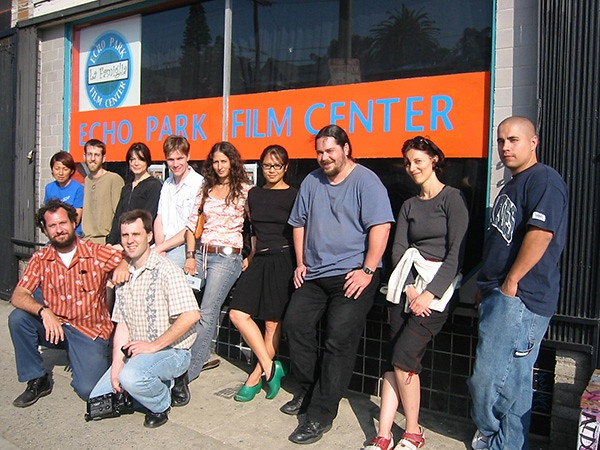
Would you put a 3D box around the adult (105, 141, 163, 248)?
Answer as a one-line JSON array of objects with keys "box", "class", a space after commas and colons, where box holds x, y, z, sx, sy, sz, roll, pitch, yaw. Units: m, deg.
[{"box": [-1.870, -0.313, 5.971, 0.572, 1.164, 0.544, -2, -5, 29], "class": "adult"}]

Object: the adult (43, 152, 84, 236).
[{"box": [-2.966, -0.319, 6.639, 0.493, 1.096, 0.578, 7, 14, 7], "class": "adult"}]

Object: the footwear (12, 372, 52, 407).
[{"box": [-2.475, 1.511, 4.966, 0.142, 0.198, 0.414, 2, 6, 14], "class": "footwear"}]

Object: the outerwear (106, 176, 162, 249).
[{"box": [-1.698, -0.111, 5.514, 0.615, 0.938, 0.326, 7, -4, 34], "class": "outerwear"}]

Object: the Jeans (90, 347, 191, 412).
[{"box": [-1.355, 1.336, 4.587, 0.786, 0.564, 0.441, -1, 10, -10], "class": "Jeans"}]

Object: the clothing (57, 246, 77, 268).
[{"box": [-2.131, 0.290, 4.977, 0.161, 0.189, 0.168, -3, 7, 3], "class": "clothing"}]

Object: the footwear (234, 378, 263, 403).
[{"box": [-0.491, 1.579, 5.097, 0.111, 0.127, 0.313, -1, -6, 30], "class": "footwear"}]

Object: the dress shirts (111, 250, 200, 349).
[{"box": [-1.375, 0.730, 4.707, 0.844, 0.863, 0.424, -8, -23, -4], "class": "dress shirts"}]

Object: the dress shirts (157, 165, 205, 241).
[{"box": [-1.257, -0.190, 5.678, 0.564, 0.816, 0.283, 19, 8, 34], "class": "dress shirts"}]

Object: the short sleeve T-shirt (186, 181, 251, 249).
[{"box": [-0.789, -0.083, 5.404, 0.682, 0.666, 0.348, 0, -1, 16], "class": "short sleeve T-shirt"}]

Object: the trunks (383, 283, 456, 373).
[{"box": [0.945, 0.894, 4.326, 0.505, 0.608, 0.386, 3, 11, 14], "class": "trunks"}]

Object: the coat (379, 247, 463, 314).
[{"box": [0.917, 0.431, 4.332, 0.500, 0.517, 0.218, 32, -4, 15], "class": "coat"}]

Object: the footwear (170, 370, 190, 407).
[{"box": [-1.101, 1.473, 4.958, 0.112, 0.346, 0.142, -12, -35, 25], "class": "footwear"}]

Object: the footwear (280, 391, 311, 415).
[{"box": [-0.004, 1.610, 4.900, 0.338, 0.148, 0.118, 0, 10, -40], "class": "footwear"}]

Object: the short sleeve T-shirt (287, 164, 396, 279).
[{"box": [0.330, -0.008, 4.777, 0.950, 1.031, 0.523, 4, 1, 26], "class": "short sleeve T-shirt"}]

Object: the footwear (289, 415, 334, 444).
[{"box": [0.102, 1.690, 4.515, 0.368, 0.173, 0.155, 3, 2, -40], "class": "footwear"}]

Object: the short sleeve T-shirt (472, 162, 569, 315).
[{"box": [1.665, 0.115, 4.041, 0.591, 1.127, 0.341, 6, 11, 25], "class": "short sleeve T-shirt"}]

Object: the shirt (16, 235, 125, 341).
[{"box": [-2.115, 0.631, 5.064, 1.126, 0.978, 0.445, -7, 9, -17], "class": "shirt"}]

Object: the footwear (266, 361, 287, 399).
[{"box": [-0.246, 1.463, 5.076, 0.139, 0.350, 0.123, 26, -17, -17], "class": "footwear"}]
